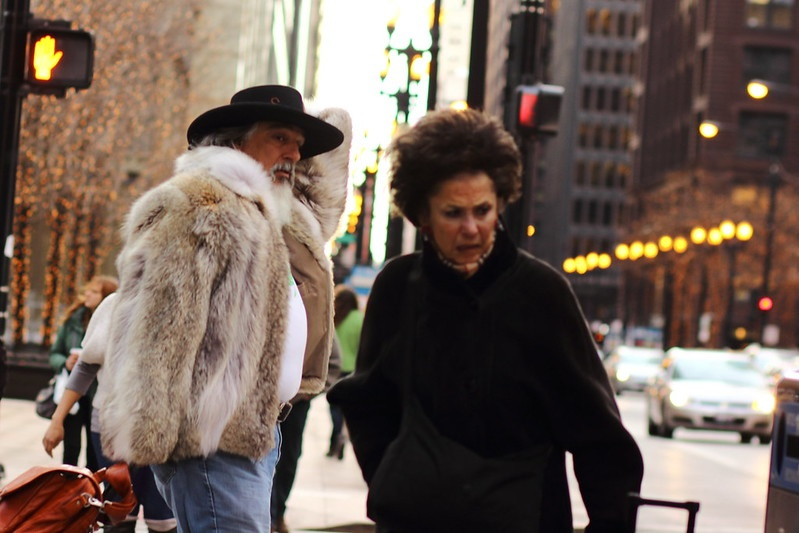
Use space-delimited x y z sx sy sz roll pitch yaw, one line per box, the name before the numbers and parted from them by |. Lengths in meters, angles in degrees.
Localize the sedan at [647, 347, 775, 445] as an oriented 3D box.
sedan | 7.314 3.187 33.463 2.735 1.964 1.874 0 -3 16
